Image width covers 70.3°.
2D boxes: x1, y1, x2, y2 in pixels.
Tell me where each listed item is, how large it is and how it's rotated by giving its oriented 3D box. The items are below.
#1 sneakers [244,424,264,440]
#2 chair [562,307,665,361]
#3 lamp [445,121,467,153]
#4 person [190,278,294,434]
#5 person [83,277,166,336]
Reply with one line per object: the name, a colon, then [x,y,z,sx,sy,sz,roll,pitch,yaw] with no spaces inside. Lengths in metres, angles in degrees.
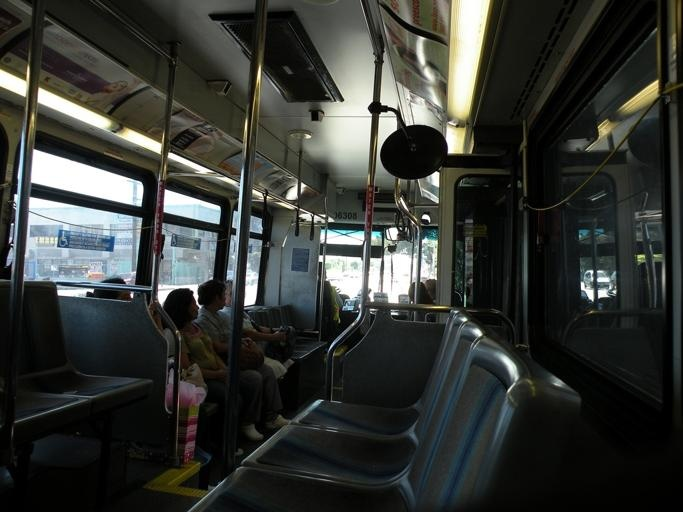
sneakers: [-0.794,1.599,4.399,0.189,0.085,0.107,8,-3,34]
chair: [1.201,0.341,2.130,0.101,0.116,0.430,32,-13,-2]
lamp: [1.033,-1.057,4.358,0.199,0.284,0.075,19,39,12]
person: [-0.946,0.945,4.635,0.827,1.418,0.485,2,12,23]
person: [-1.526,0.355,3.367,0.708,0.381,0.438,5,-11,3]
